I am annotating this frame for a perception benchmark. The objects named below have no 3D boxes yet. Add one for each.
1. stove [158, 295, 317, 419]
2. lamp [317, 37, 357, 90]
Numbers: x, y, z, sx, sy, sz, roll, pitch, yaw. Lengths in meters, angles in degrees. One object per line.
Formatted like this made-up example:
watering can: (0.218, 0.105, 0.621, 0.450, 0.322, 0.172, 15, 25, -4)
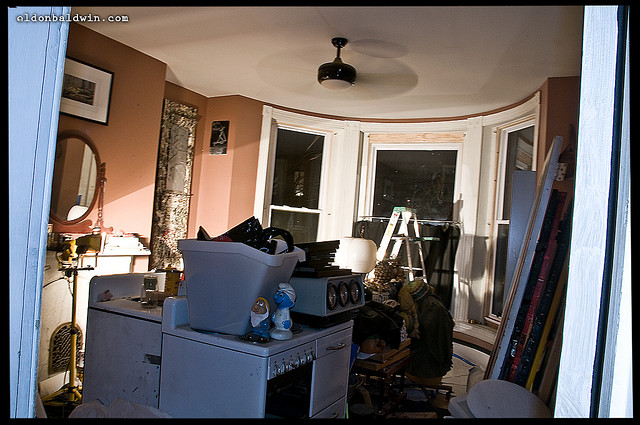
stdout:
stove: (-0.304, 0.581, 2.298, 0.610, 0.725, 0.796, -2, -10, 21)
lamp: (0.161, -1.289, 3.789, 0.304, 0.395, 0.387, 5, 1, -9)
